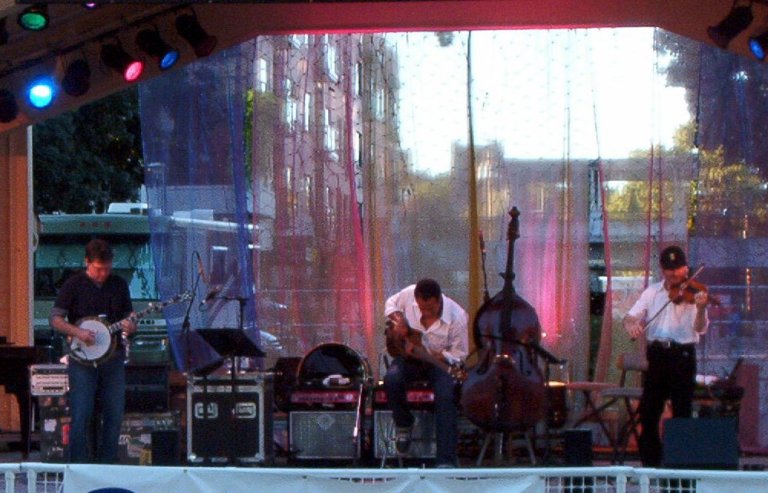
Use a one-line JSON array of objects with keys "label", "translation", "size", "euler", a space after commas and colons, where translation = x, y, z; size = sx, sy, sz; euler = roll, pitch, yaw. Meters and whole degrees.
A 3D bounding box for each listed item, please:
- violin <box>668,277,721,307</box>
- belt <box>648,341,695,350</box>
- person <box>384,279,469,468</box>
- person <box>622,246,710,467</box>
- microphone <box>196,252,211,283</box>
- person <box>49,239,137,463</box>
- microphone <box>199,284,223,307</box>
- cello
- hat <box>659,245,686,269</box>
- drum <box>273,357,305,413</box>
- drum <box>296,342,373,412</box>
[{"label": "violin", "translation": [3.273, 0.532, 14.596], "size": [0.497, 0.263, 0.131], "euler": [30, -17, 46]}, {"label": "belt", "translation": [3.052, 1.028, 14.758], "size": [0.468, 0.078, 0.135], "euler": [-2, -6, 4]}, {"label": "person", "translation": [0.452, 1.349, 14.835], "size": [0.900, 1.890, 0.803], "euler": [-2, -6, -4]}, {"label": "person", "translation": [3.045, 1.184, 15.040], "size": [0.957, 2.234, 0.792], "euler": [-1, -3, 3]}, {"label": "microphone", "translation": [-2.116, 0.230, 16.179], "size": [0.192, 0.313, 0.313], "euler": [-7, -5, -6]}, {"label": "person", "translation": [-3.075, 1.096, 14.773], "size": [0.856, 2.325, 0.727], "euler": [-2, -5, -1]}, {"label": "microphone", "translation": [-1.925, 0.543, 15.403], "size": [0.116, 0.238, 0.328], "euler": [22, 43, 25]}, {"label": "cello", "translation": [1.258, 0.947, 14.613], "size": [0.824, 1.722, 0.657], "euler": [2, -1, 1]}, {"label": "hat", "translation": [3.064, 0.117, 14.747], "size": [0.253, 0.251, 0.185], "euler": [-2, -5, 1]}, {"label": "drum", "translation": [-1.059, 1.511, 15.287], "size": [0.343, 0.562, 0.271], "euler": [2, 5, -14]}, {"label": "drum", "translation": [-0.586, 1.390, 14.953], "size": [0.876, 0.722, 0.438], "euler": [-2, -5, 5]}]
